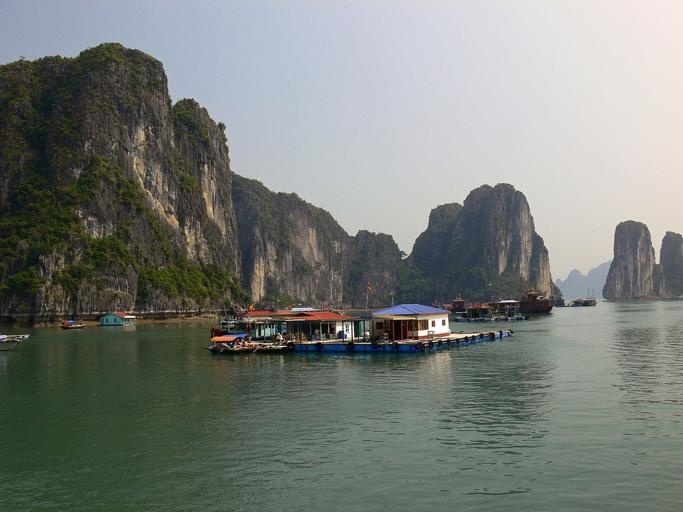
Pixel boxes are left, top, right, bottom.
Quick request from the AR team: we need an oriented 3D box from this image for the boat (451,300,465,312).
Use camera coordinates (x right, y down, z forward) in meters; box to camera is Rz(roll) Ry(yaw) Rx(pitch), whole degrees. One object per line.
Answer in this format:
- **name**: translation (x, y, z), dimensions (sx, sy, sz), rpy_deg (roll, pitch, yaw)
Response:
- **boat**: translation (35.346, 15.441, 228.246), dimensions (3.252, 3.461, 3.457), rpy_deg (-1, 3, 0)

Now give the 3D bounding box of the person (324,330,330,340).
- **person**: translation (-1.730, 9.931, 93.801), dimensions (0.739, 0.863, 0.400), rpy_deg (-1, 3, -1)
